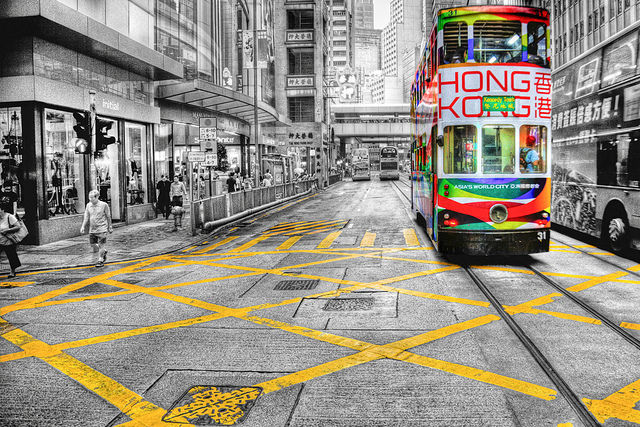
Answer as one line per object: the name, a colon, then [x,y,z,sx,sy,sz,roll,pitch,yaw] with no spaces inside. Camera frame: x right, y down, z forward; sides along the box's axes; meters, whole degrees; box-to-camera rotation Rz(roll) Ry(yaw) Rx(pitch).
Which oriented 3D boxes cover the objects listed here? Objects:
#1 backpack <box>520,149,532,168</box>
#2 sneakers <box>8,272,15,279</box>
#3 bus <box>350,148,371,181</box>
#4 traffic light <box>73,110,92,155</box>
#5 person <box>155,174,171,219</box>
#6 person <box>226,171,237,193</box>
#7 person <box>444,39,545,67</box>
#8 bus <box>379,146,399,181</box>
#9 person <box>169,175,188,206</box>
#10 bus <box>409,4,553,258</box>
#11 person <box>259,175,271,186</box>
backpack: [4.988,-1.335,12.111,0.421,0.456,0.303,1,6,14]
sneakers: [-8.231,1.641,13.268,0.138,0.117,0.237,-6,9,-33]
bus: [5.951,-7.048,72.351,2.399,4.616,3.403,-1,7,2]
traffic light: [-7.192,-2.438,15.062,0.461,1.197,0.712,-5,7,-26]
person: [-7.923,-0.849,25.139,0.645,2.221,1.159,-4,7,-22]
person: [-5.176,-1.827,28.824,0.462,1.078,1.083,-3,7,-14]
person: [4.182,-3.949,11.991,2.563,0.823,0.272,-1,6,4]
bus: [9.737,-7.025,70.101,2.433,4.628,1.663,1,7,22]
person: [-6.489,-0.977,22.732,0.631,1.399,1.970,-3,8,-17]
bus: [3.680,-2.111,13.365,2.404,6.456,4.097,-5,7,-26]
person: [-4.043,-2.427,36.742,0.993,0.834,2.410,-6,6,-12]
